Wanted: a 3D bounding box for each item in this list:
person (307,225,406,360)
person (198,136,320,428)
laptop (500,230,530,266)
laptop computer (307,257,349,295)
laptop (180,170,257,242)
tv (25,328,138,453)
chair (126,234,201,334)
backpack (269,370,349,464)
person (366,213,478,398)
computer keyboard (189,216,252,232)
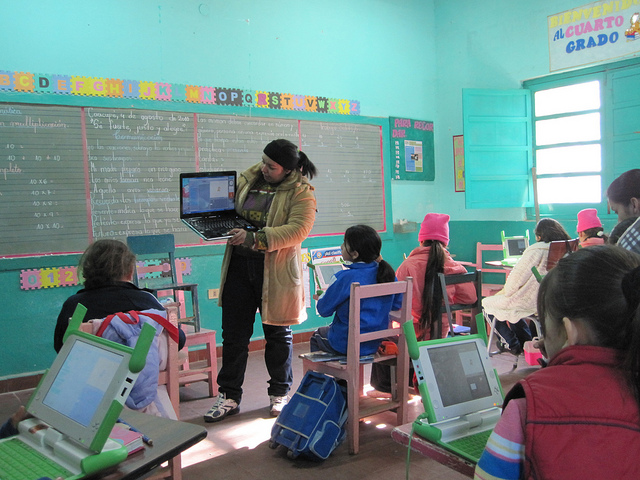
[{"bbox_3d":[0.383,0.308,3.011,0.598,1.001,0.731,-4,6,-33],"label":"person"},{"bbox_3d":[-0.396,0.256,2.976,0.669,1.858,0.735,4,3,-4],"label":"person"},{"bbox_3d":[2.279,0.112,5.223,0.309,0.404,0.329,-4,5,32],"label":"laptop"},{"bbox_3d":[0.063,0.271,3.559,0.254,0.232,0.074,-7,-17,-26],"label":"laptop computer"},{"bbox_3d":[-0.567,-0.206,2.633,0.431,0.292,0.451,24,24,27],"label":"laptop"},{"bbox_3d":[-0.593,0.366,1.128,0.318,0.218,0.118,4,-4,32],"label":"tv"},{"bbox_3d":[-1.151,0.347,3.333,0.434,0.747,0.453,4,7,32],"label":"chair"},{"bbox_3d":[-0.040,1.015,2.545,0.265,0.453,0.334,36,-21,-30],"label":"backpack"},{"bbox_3d":[0.778,0.552,3.496,0.621,1.476,0.812,2,1,-25],"label":"person"},{"bbox_3d":[-0.599,-0.094,2.698,0.159,0.083,0.393,0,2,34],"label":"computer keyboard"}]
